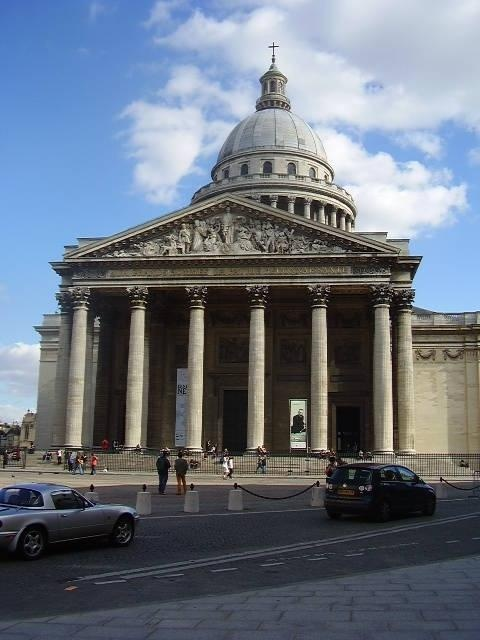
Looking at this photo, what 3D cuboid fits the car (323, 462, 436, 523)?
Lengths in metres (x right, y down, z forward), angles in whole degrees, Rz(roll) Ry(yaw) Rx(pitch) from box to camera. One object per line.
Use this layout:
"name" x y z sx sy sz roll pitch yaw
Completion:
"car" 4.474 5.154 20.971 4.077 1.698 1.653 7 -10 -40
